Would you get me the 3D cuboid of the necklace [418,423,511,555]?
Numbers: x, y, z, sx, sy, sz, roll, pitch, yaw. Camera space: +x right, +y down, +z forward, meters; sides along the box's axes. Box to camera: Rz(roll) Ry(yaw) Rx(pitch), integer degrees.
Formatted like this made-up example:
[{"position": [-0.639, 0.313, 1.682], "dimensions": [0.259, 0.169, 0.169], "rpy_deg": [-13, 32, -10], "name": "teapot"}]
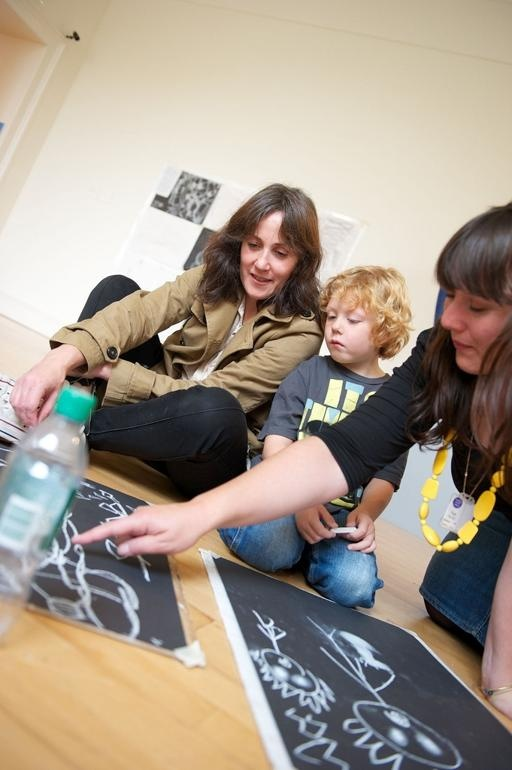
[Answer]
[{"position": [0.365, 0.150, 1.018], "dimensions": [0.167, 0.295, 0.049], "rpy_deg": [17, -21, 7], "name": "necklace"}]
